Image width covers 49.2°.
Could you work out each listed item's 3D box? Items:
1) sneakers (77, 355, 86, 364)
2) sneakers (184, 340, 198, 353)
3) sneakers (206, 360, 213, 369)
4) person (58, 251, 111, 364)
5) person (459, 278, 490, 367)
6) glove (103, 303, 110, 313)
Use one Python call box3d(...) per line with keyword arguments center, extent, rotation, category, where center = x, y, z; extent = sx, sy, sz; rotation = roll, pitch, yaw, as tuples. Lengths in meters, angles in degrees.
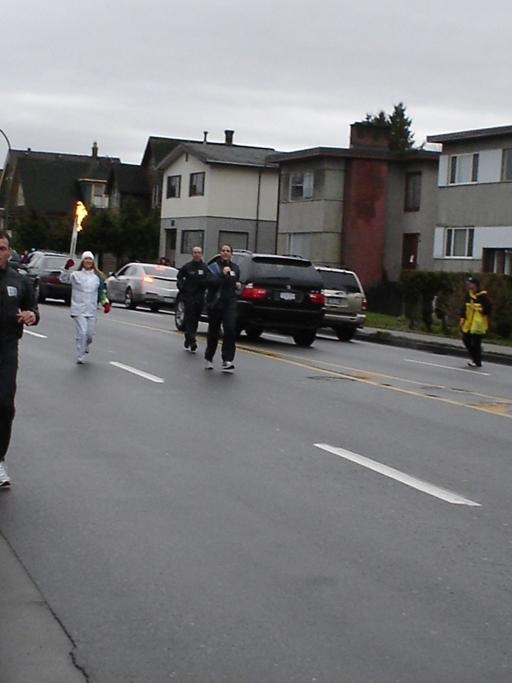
box3d(center=(-3.884, 0.408, 12.347), extent=(0.092, 0.141, 0.303), rotation=(0, -5, -11), category="sneakers")
box3d(center=(-1.733, 0.125, 14.730), extent=(0.202, 0.305, 0.656), rotation=(1, 7, -4), category="sneakers")
box3d(center=(-1.021, 0.496, 12.195), extent=(0.092, 0.182, 0.159), rotation=(1, -3, -10), category="sneakers")
box3d(center=(-3.725, -0.732, 12.311), extent=(0.752, 2.024, 0.873), rotation=(1, 0, -19), category="person")
box3d(center=(6.248, -0.534, 16.004), extent=(0.736, 2.770, 0.790), rotation=(2, 0, 7), category="person")
box3d(center=(-3.215, -0.740, 11.985), extent=(0.088, 0.171, 0.440), rotation=(2, 1, -9), category="glove")
